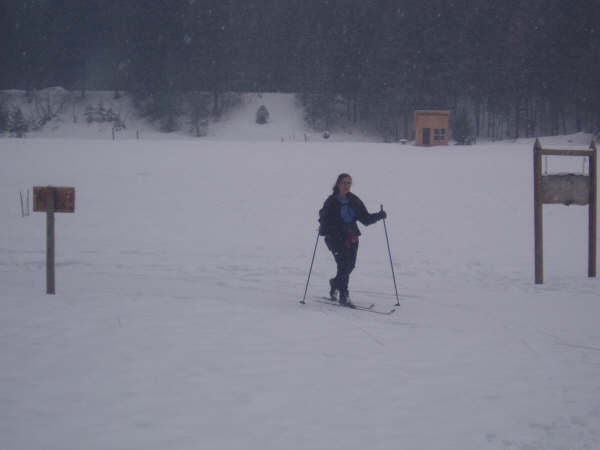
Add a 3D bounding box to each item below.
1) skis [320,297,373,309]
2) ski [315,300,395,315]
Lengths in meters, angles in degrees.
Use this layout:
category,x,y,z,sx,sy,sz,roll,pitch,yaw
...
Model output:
category,x,y,z,sx,sy,sz,roll,pitch,yaw
skis,0.755,1.314,18.057,0.756,0.093,0.061,10,3,17
ski,0.901,1.370,17.940,1.321,0.128,0.229,4,3,15
